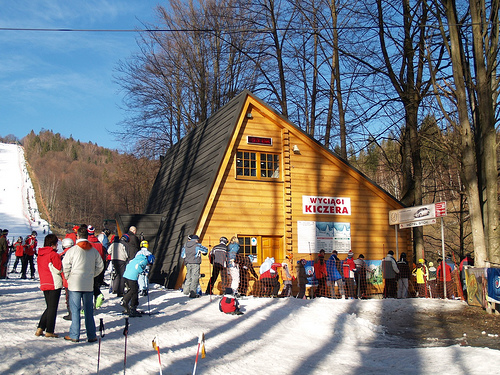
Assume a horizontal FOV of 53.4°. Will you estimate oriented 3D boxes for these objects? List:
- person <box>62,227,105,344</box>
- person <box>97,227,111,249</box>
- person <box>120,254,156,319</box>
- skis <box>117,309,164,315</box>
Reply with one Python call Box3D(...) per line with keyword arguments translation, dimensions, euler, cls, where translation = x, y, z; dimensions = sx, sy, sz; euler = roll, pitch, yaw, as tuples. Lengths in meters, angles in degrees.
Box3D(translation=(-4.823, 2.824, 14.463), dimensions=(1.023, 3.386, 1.068), euler=(1, -6, -16), cls="person")
Box3D(translation=(-6.546, 2.333, 21.905), dimensions=(0.348, 1.019, 0.703), euler=(0, 15, 11), cls="person")
Box3D(translation=(-3.947, 3.456, 17.251), dimensions=(0.922, 2.168, 1.065), euler=(4, -12, -15), cls="person")
Box3D(translation=(-3.947, 4.465, 17.744), dimensions=(1.191, 0.241, 0.031), euler=(2, -7, -16), cls="skis")
